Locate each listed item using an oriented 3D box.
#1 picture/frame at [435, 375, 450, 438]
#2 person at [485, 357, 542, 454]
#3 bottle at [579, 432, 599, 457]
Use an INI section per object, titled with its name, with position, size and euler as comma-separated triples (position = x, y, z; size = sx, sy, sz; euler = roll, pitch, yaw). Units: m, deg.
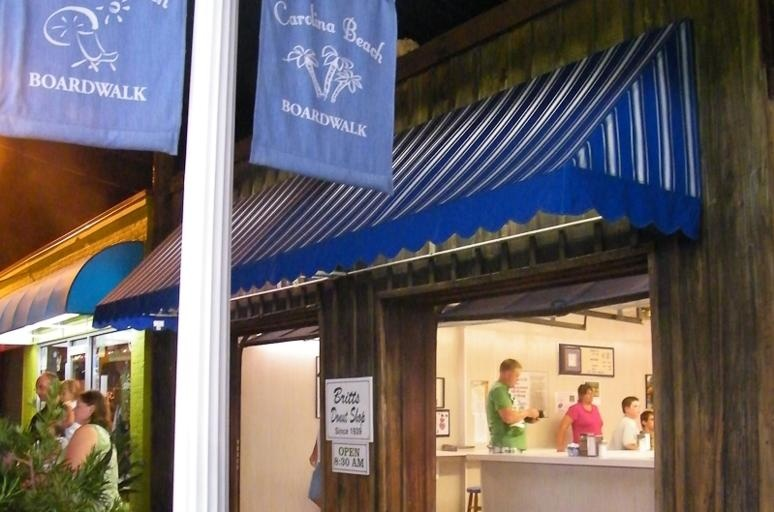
[picture/frame]
position = 0.764, 2.028, 17.568
size = 0.239, 0.807, 0.043
euler = 11, -16, -36
[person]
position = 1.504, 1.814, 15.433
size = 0.596, 1.271, 2.505
euler = -1, -15, 6
[bottle]
position = 2.044, 1.911, 13.293
size = 0.190, 0.229, 0.205
euler = 3, -6, -32
